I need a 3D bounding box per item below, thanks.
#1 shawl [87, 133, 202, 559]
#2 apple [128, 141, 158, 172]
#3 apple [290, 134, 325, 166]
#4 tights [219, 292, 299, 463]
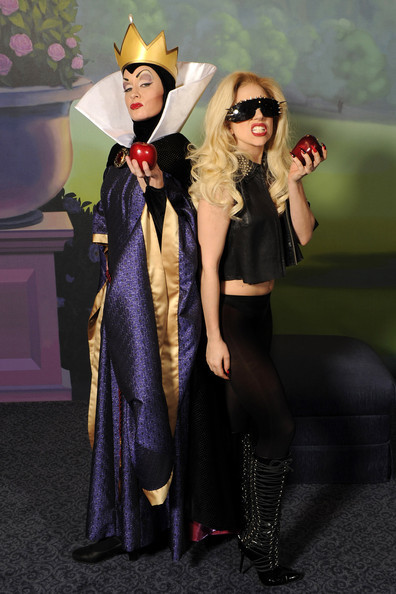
[{"bbox_3d":[-0.150,0.168,1.289,0.265,1.131,0.377,-4,9,-24],"label":"shawl"},{"bbox_3d":[-0.106,-0.280,0.991,0.073,0.057,0.055,-5,9,-29],"label":"apple"},{"bbox_3d":[0.270,-0.355,1.201,0.097,0.072,0.059,-8,11,-44],"label":"apple"},{"bbox_3d":[0.144,0.191,1.286,0.173,0.406,0.265,0,8,2],"label":"tights"}]
